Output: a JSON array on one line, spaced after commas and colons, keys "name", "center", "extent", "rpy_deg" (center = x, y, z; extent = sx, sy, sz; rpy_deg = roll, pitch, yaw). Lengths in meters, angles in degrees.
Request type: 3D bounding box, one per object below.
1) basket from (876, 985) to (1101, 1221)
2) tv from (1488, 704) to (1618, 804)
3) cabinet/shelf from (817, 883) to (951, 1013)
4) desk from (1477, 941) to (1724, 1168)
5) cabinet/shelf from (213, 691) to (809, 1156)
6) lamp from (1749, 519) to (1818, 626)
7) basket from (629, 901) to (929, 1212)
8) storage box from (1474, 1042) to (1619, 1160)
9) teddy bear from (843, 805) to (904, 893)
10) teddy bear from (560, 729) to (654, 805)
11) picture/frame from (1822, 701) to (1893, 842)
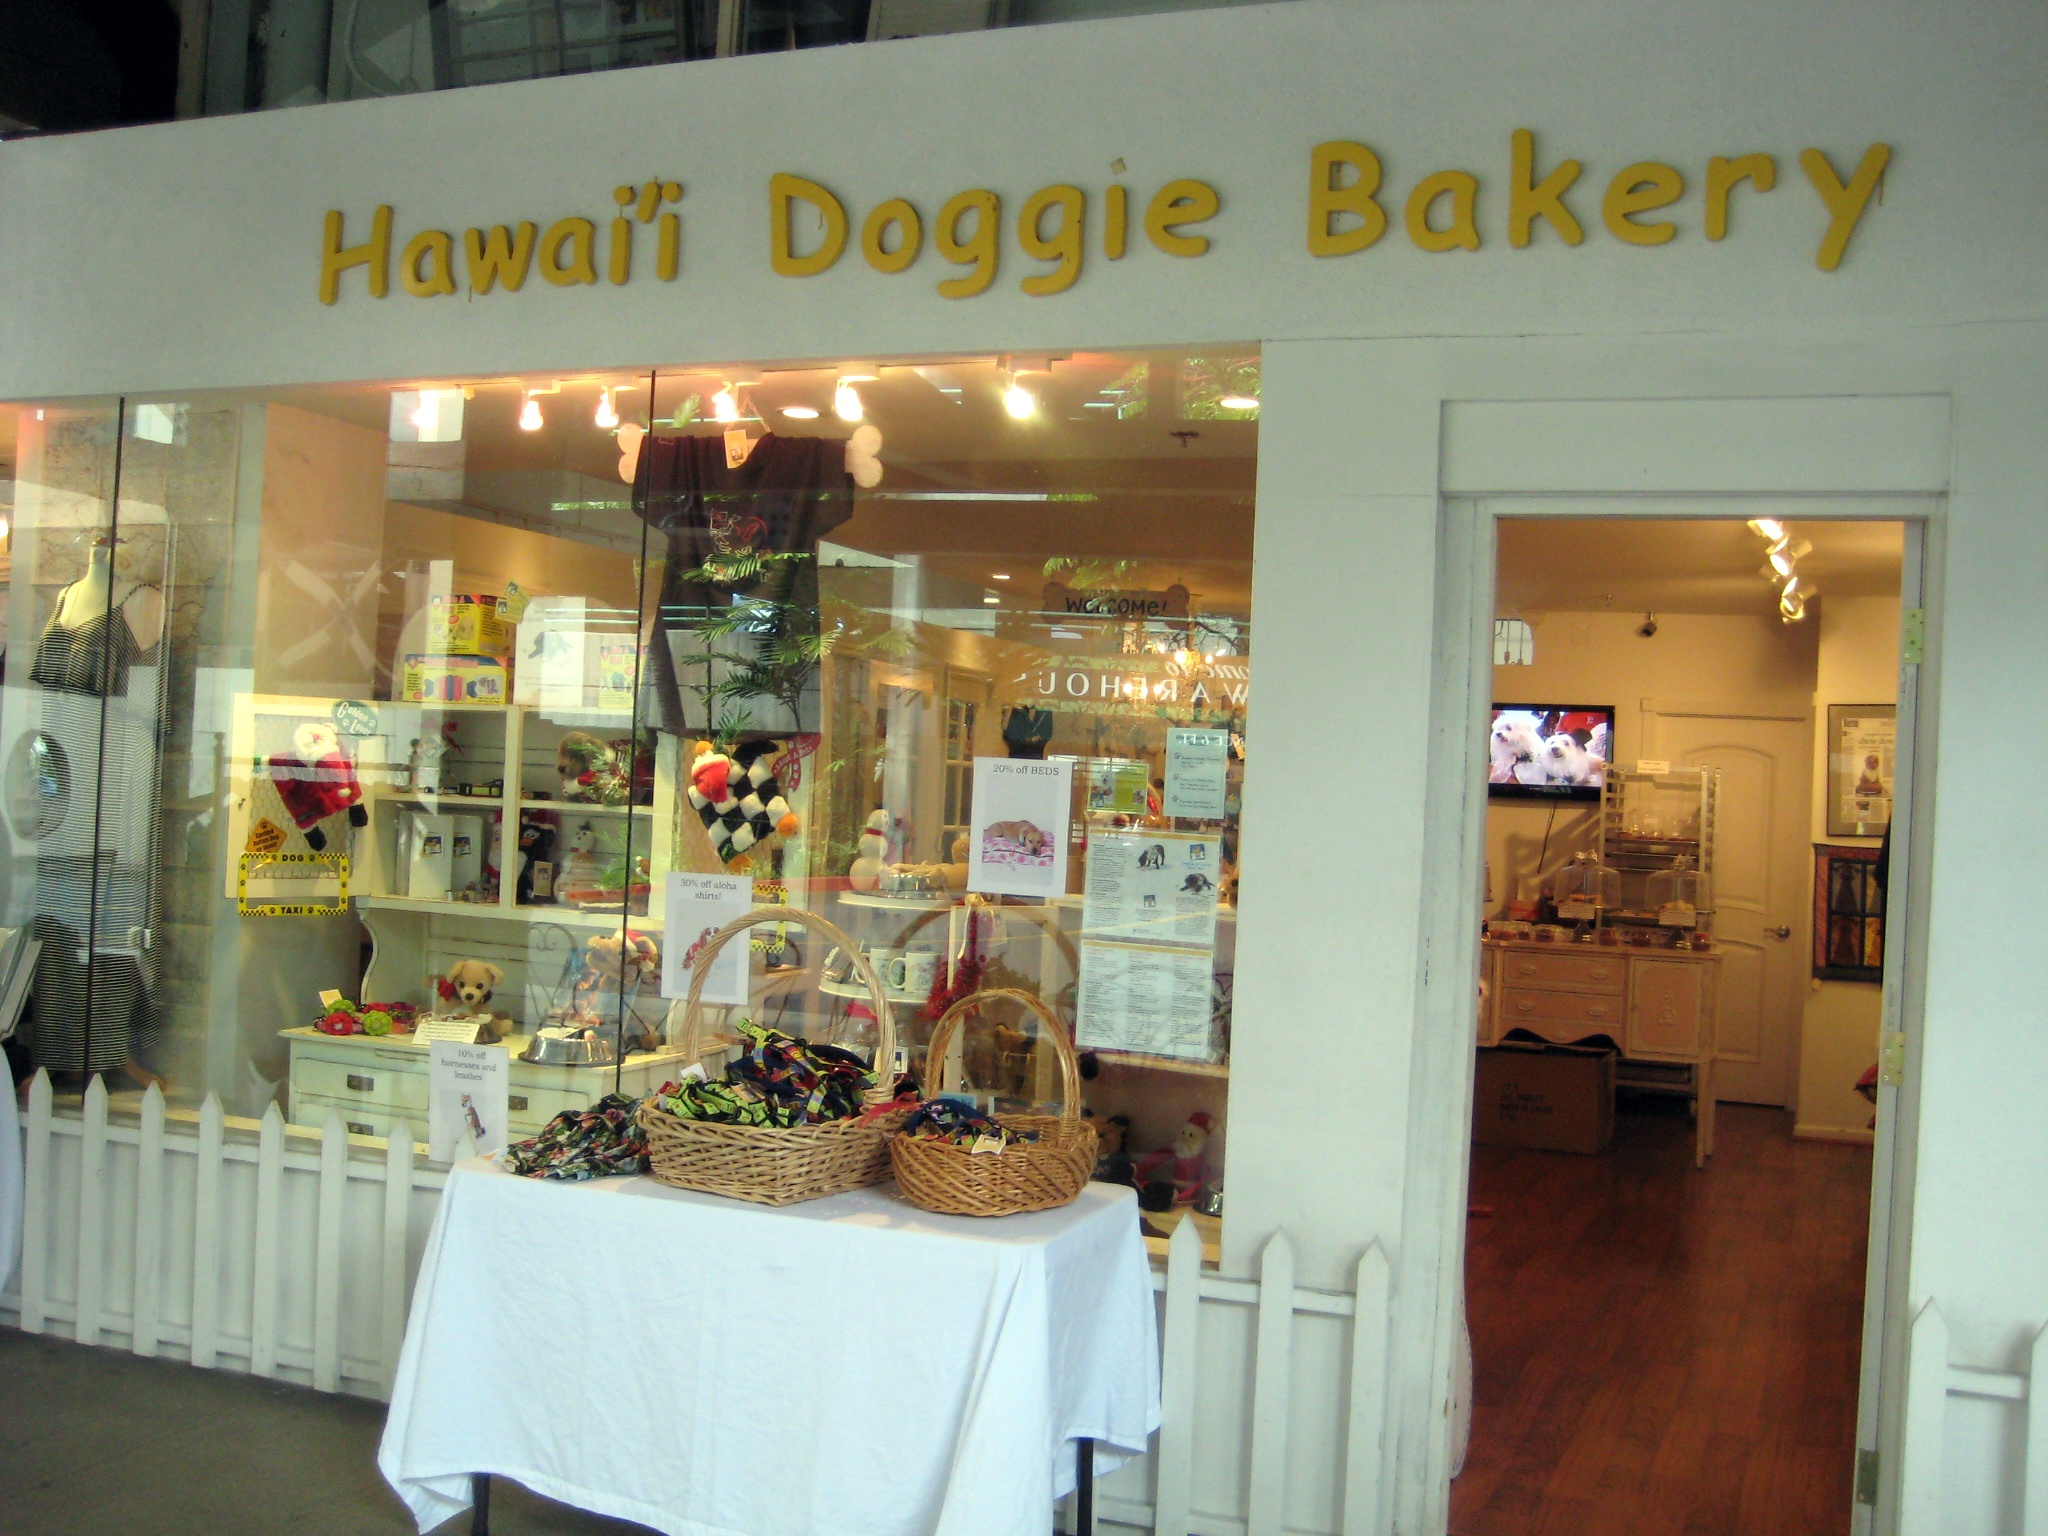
[{"name": "basket", "center": [-0.048, 0.852, 4.584], "extent": [0.548, 0.541, 0.523], "rpy_deg": [5, -5, -23]}, {"name": "tv", "center": [3.508, -0.081, 11.768], "extent": [0.618, 0.474, 0.090], "rpy_deg": [-1, -4, 13]}, {"name": "cabinet/shelf", "center": [-0.360, 0.543, 5.492], "extent": [0.217, 0.362, 0.354], "rpy_deg": [4, -15, 40]}, {"name": "desk", "center": [3.290, 1.629, 10.814], "extent": [1.586, 1.218, 0.606], "rpy_deg": [3, 2, 21]}, {"name": "cabinet/shelf", "center": [-1.886, 0.134, 6.845], "extent": [2.195, 0.771, 2.028], "rpy_deg": [7, 16, -26]}, {"name": "lamp", "center": [4.342, -1.010, 10.187], "extent": [0.280, 0.321, 0.289], "rpy_deg": [-10, -2, 4]}, {"name": "basket", "center": [-0.664, 0.683, 4.608], "extent": [0.608, 0.646, 0.629], "rpy_deg": [9, 10, 28]}, {"name": "storage box", "center": [2.955, 1.880, 10.156], "extent": [0.778, 0.644, 0.636], "rpy_deg": [8, 2, 15]}, {"name": "teddy bear", "center": [-0.453, 0.252, 5.432], "extent": [0.148, 0.241, 0.100], "rpy_deg": [9, 5, 38]}, {"name": "teddy bear", "center": [-1.318, -0.002, 5.713], "extent": [0.247, 0.251, 0.103], "rpy_deg": [-7, 12, 29]}, {"name": "picture/frame", "center": [4.940, 0.029, 10.658], "extent": [0.400, 0.877, 0.146], "rpy_deg": [8, 1, 18]}]
